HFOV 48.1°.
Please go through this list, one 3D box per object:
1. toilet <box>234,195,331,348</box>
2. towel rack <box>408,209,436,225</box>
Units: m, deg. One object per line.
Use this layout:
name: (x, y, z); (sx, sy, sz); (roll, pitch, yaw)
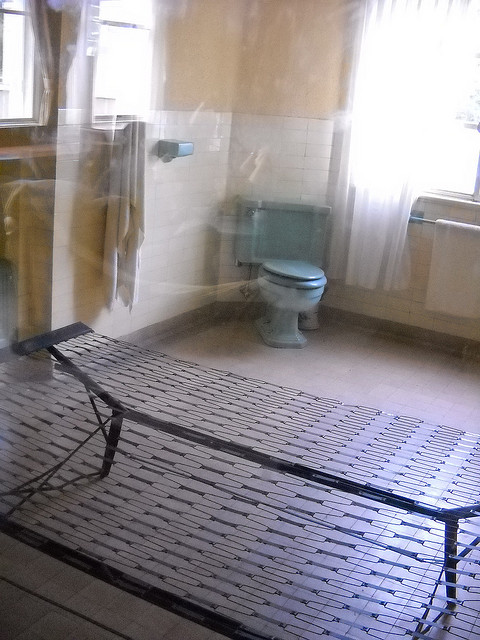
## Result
toilet: (0.095, -0.113, 1.252); (0.219, 0.309, 0.306); (4, 15, -6)
towel rack: (0.370, -0.207, 1.094); (0.047, 0.031, 0.010); (19, 31, 32)
